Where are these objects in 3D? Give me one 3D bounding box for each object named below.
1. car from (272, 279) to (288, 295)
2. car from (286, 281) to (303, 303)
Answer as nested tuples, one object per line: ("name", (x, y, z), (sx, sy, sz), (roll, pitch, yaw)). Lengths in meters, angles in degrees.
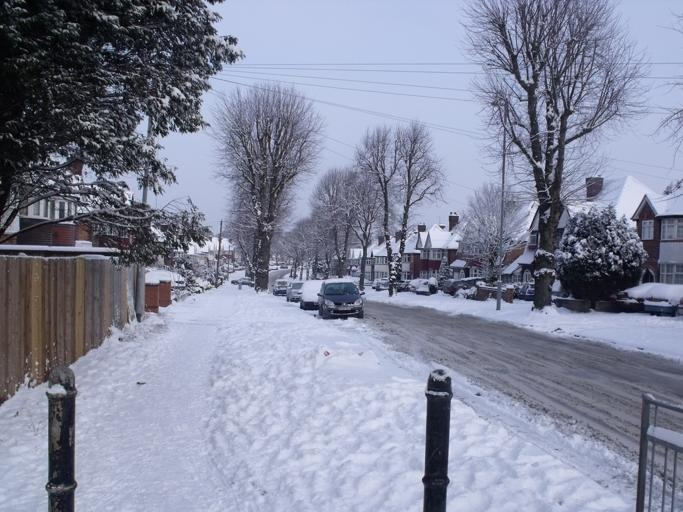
("car", (-4.104, 2.110, 50.217), (0.751, 0.691, 1.771), (0, 3, -6))
("car", (-2.545, 1.954, 40.861), (0.719, 0.700, 1.624), (0, -5, -7))
